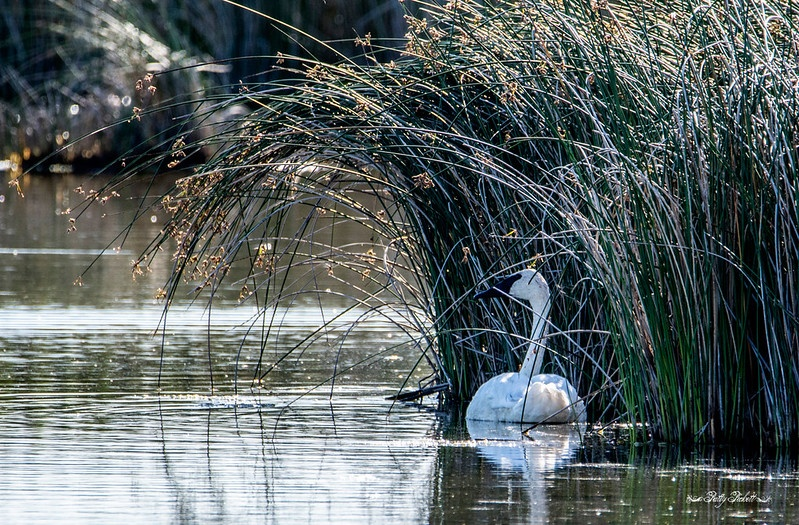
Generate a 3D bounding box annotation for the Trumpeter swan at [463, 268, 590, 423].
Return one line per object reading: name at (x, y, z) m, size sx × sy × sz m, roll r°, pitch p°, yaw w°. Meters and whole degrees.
Trumpeter swan at (0.766, 0.563, 9.482) m, size 0.593 × 1.008 × 0.958 m, roll 13°, pitch -7°, yaw -29°
